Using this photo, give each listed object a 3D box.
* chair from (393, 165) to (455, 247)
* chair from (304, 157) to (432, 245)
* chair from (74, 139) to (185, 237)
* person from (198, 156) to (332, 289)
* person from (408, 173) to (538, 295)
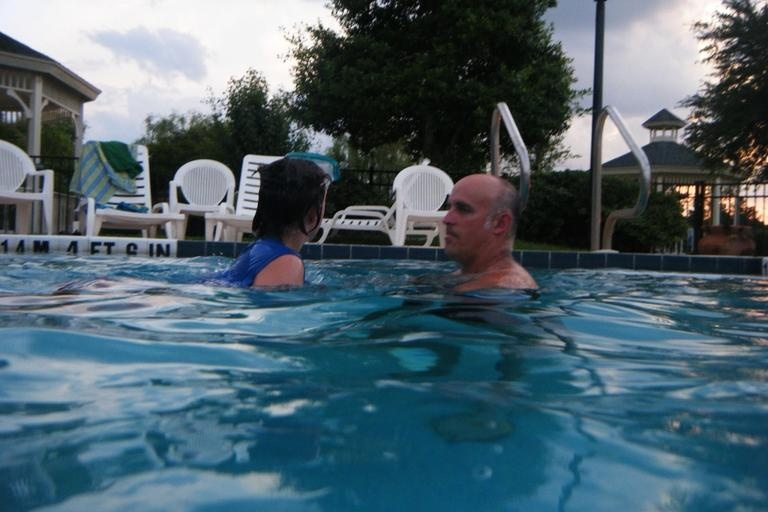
[{"bbox_3d":[0.371,-0.817,9.561,1.040,1.227,1.941,-3,7,-20],"label":"chair"},{"bbox_3d":[0.167,-0.804,8.519,1.954,1.259,1.133,3,-2,-27],"label":"chair"},{"bbox_3d":[-3.546,-0.819,8.078,1.147,1.555,2.016,2,-6,-23],"label":"chair"},{"bbox_3d":[-0.645,-0.135,3.027,0.592,0.770,0.615,5,-6,22],"label":"person"},{"bbox_3d":[0.509,-0.124,3.373,0.576,0.650,0.778,2,2,-6],"label":"person"}]
